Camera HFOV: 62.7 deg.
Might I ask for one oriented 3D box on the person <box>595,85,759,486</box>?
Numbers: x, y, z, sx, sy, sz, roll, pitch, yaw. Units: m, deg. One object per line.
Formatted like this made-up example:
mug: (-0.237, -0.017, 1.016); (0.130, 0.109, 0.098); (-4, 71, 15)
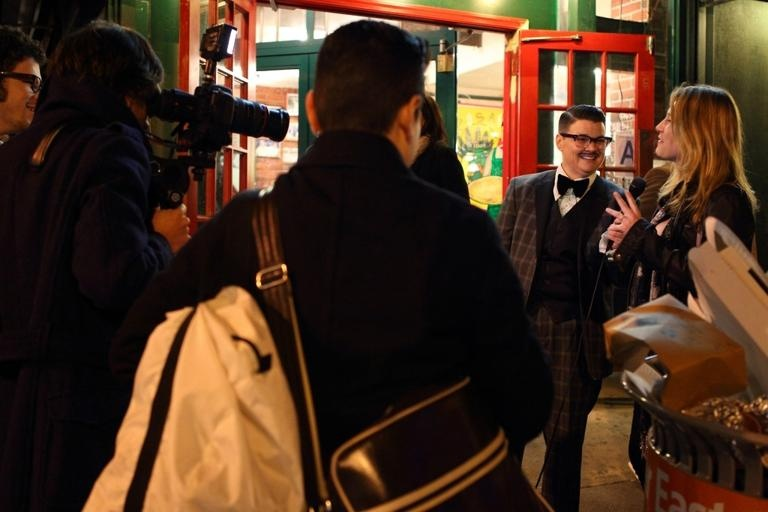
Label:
person: (1.167, 0.134, 2.540); (0.563, 1.645, 0.766); (8, 11, 23)

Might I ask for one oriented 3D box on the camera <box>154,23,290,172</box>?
camera: (-0.649, -0.611, 2.440); (0.226, 0.558, 0.629); (20, 14, 41)
